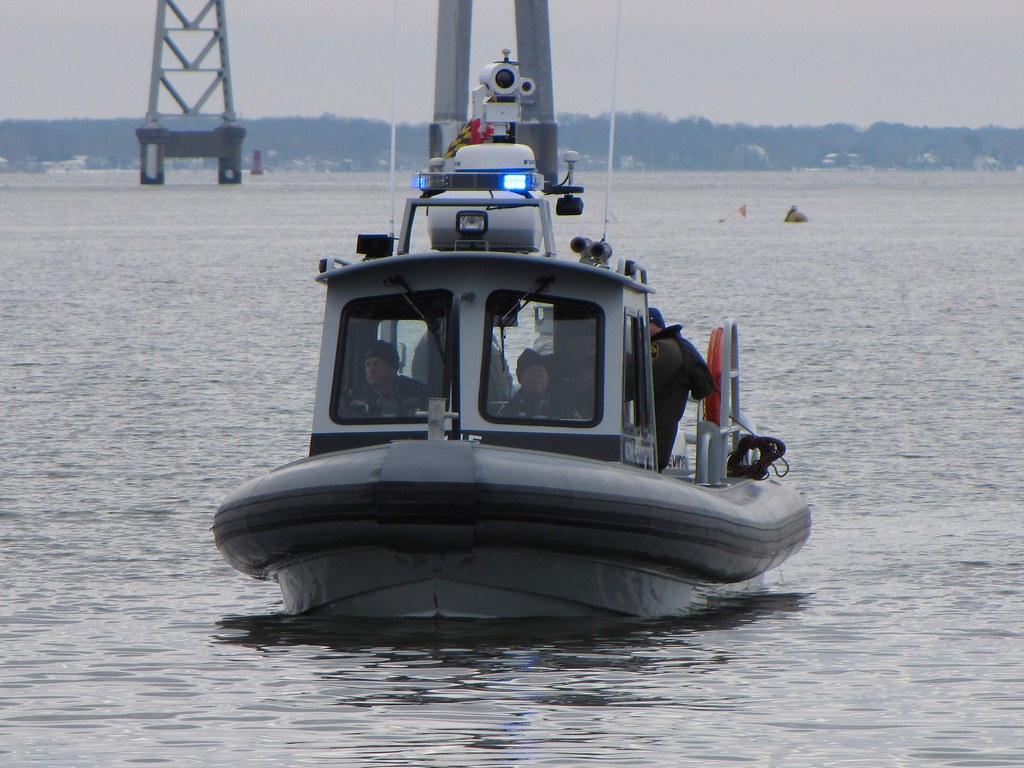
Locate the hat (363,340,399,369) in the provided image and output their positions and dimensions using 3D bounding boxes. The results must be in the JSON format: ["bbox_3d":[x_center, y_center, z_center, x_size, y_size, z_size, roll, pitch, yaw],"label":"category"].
[{"bbox_3d":[-1.191,-0.219,27.342,0.266,0.213,0.283,15,-20,27],"label":"hat"}]

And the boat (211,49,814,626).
[{"bbox_3d":[0.089,0.192,27.827,4.118,3.876,4.451,8,16,31],"label":"boat"}]

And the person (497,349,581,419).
[{"bbox_3d":[0.251,0.020,27.477,1.109,0.544,1.546,-1,-4,-6],"label":"person"}]
